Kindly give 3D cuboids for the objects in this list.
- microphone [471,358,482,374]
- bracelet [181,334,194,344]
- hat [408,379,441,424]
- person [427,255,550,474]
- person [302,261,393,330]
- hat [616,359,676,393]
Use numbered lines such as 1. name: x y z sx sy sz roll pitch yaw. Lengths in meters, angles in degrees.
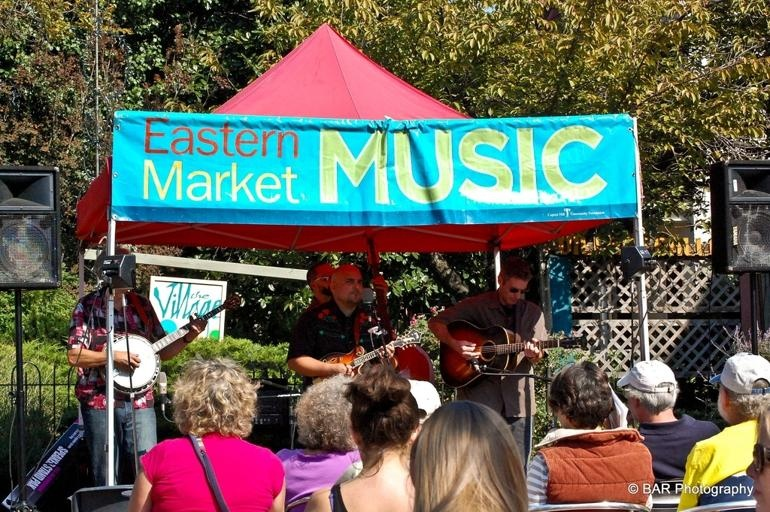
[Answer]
1. microphone: 1.051 1.277 15.517 0.044 0.148 0.108 10 -27 -20
2. bracelet: -2.270 0.948 15.366 0.110 0.029 0.112 -29 -60 28
3. hat: 0.421 1.469 13.946 0.340 0.454 0.122 0 -21 -32
4. person: 1.240 1.536 15.832 1.395 2.903 0.888 1 12 1
5. person: -0.441 0.444 16.227 0.850 0.572 0.839 1 2 -28
6. hat: 2.706 1.232 13.771 0.420 0.208 0.315 1 -1 22
